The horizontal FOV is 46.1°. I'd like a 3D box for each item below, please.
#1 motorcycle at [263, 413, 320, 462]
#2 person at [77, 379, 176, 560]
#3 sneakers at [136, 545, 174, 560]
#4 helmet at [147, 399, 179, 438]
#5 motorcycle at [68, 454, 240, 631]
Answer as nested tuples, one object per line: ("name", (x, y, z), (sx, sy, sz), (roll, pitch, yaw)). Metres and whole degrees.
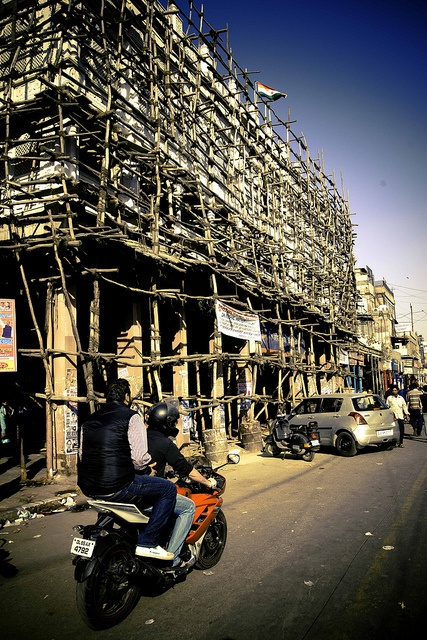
("motorcycle", (1.744, 2.625, 11.286), (0.454, 0.977, 1.483), (2, -10, -32))
("person", (-0.650, 1.135, 3.733), (0.411, 1.363, 0.664), (-10, -10, 41))
("sneakers", (-0.438, 1.684, 3.669), (0.285, 0.121, 0.113), (7, 0, -21))
("helmet", (-0.428, 0.786, 4.175), (0.294, 0.294, 0.230), (-9, 14, -28))
("motorcycle", (-0.564, 1.760, 3.949), (0.750, 0.899, 1.433), (-4, -2, 35))
